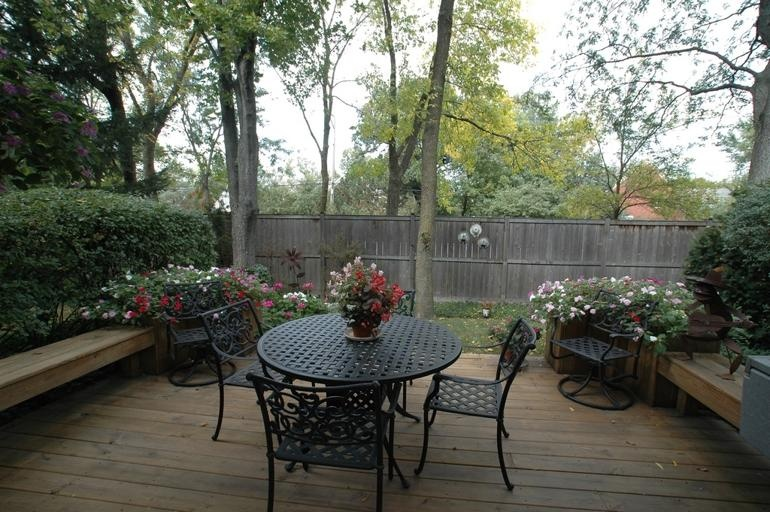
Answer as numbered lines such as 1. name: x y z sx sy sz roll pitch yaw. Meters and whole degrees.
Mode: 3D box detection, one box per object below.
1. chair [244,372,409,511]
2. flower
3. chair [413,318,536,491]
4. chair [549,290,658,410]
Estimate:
1. chair: -0.465 1.871 5.876 1.543 2.153 1.508 1 18 5
2. flower: -0.171 0.423 6.092 0.847 0.829 0.872 1 2 -25
3. chair: 1.044 1.483 6.681 1.798 2.362 1.599 5 8 13
4. chair: 2.866 1.225 6.700 1.219 1.379 0.875 2 6 26
